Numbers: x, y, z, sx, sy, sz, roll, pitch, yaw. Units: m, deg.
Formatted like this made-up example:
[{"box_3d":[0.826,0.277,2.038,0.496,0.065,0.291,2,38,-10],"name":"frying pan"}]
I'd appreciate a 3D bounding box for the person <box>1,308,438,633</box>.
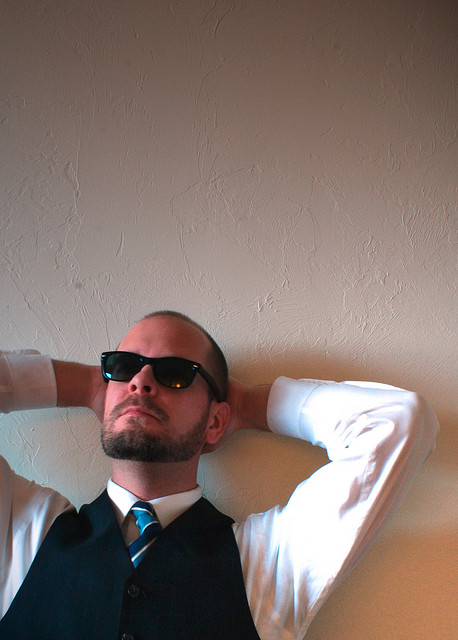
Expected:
[{"box_3d":[-0.028,0.375,1.334,0.994,0.247,0.925,1,36,-1],"name":"person"}]
